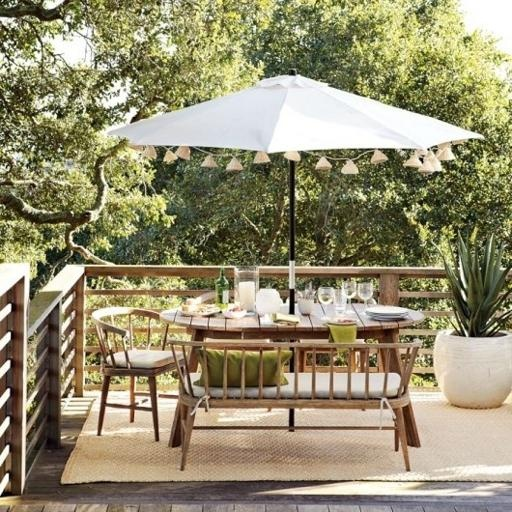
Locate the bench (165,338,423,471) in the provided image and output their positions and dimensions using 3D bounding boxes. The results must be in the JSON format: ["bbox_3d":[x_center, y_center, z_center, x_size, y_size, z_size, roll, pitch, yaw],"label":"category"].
[{"bbox_3d":[0.234,0.687,3.188,1.228,0.701,1.444,1,3,15],"label":"bench"}]

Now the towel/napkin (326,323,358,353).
[{"bbox_3d":[0.406,0.385,2.871,0.141,0.137,0.051,-1,-7,2],"label":"towel/napkin"}]

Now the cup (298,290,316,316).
[{"bbox_3d":[0.278,0.260,3.370,0.126,0.166,0.131,-2,1,0],"label":"cup"}]

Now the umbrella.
[{"bbox_3d":[0.824,-1.301,8.817,3.979,2.518,3.876,0,4,-2],"label":"umbrella"}]
